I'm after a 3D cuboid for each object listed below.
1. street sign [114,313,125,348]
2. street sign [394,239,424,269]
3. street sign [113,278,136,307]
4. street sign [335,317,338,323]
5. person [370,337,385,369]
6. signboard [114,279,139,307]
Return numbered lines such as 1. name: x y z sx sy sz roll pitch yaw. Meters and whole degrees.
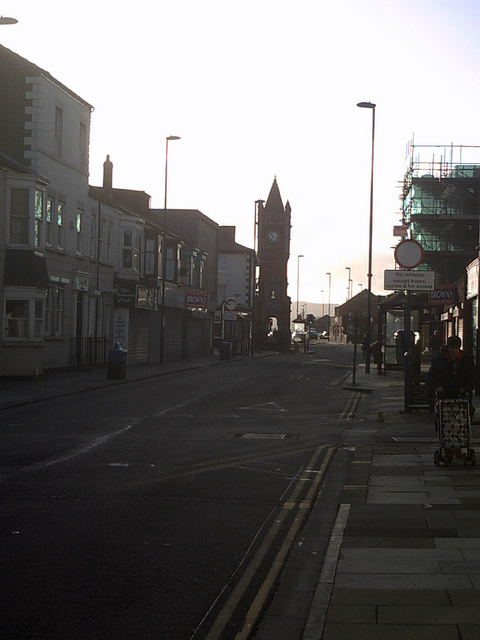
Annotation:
1. street sign: -5.254 0.422 36.455 0.256 1.456 0.583 1 0 35
2. street sign: 3.314 -1.317 16.352 0.537 0.467 0.488 1 0 10
3. street sign: -5.116 -1.209 36.472 0.980 1.283 1.098 1 0 -11
4. street sign: 16.084 -0.039 138.930 0.357 0.862 0.781 1 0 8
5. person: 6.092 1.494 36.800 0.433 0.428 1.302 -28 1 21
6. signboard: -5.036 -1.119 36.259 0.995 1.176 0.546 0 -2 -34
